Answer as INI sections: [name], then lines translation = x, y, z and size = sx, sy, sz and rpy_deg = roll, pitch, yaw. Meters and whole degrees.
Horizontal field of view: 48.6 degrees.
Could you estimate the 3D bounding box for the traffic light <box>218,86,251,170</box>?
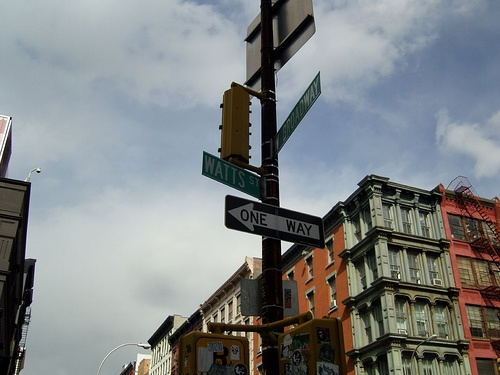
[traffic light]
translation = -0.303, -1.708, 15.066
size = 0.921, 2.545, 0.712
rpy_deg = 5, -32, -8
